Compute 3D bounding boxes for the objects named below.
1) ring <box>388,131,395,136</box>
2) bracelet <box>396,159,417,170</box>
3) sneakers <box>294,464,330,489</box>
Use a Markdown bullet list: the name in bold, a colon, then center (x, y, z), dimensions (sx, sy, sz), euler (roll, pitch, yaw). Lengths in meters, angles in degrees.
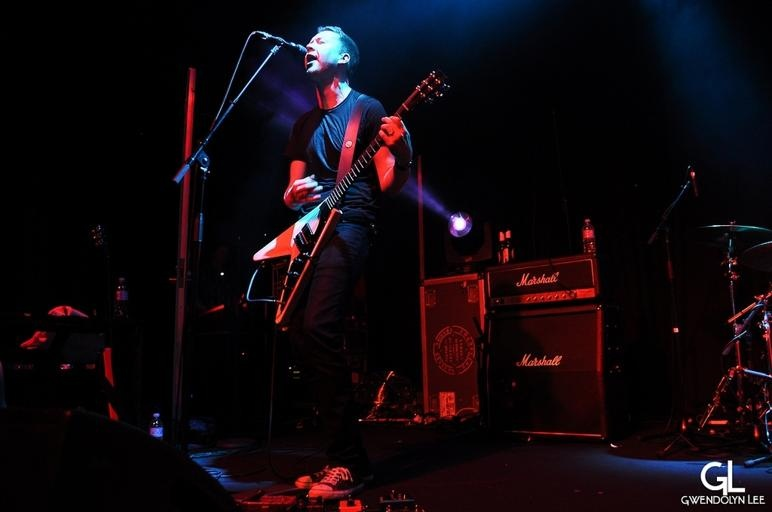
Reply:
- **ring**: center (0.036, -0.788, 4.099), dimensions (0.030, 0.031, 0.008), euler (-4, -9, 20)
- **bracelet**: center (0.127, -0.601, 4.231), dimensions (0.127, 0.052, 0.106), euler (-2, 1, -19)
- **sneakers**: center (-0.447, 1.466, 4.282), dimensions (0.326, 0.133, 0.122), euler (2, -7, 1)
